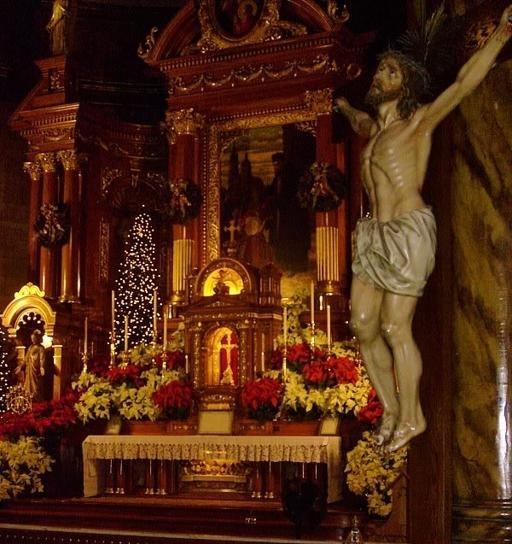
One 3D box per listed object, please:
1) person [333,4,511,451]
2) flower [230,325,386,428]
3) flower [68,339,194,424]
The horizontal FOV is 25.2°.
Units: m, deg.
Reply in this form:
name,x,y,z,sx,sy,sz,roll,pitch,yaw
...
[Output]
name,x,y,z,sx,sy,sz,roll,pitch,yaw
person,0.507,-0.113,3.768,0.271,1.382,0.734,8,-9,-36
flower,0.433,0.753,7.811,0.719,0.505,0.592,-5,-15,19
flower,-0.946,0.838,8.723,0.950,0.632,0.807,0,-8,15
